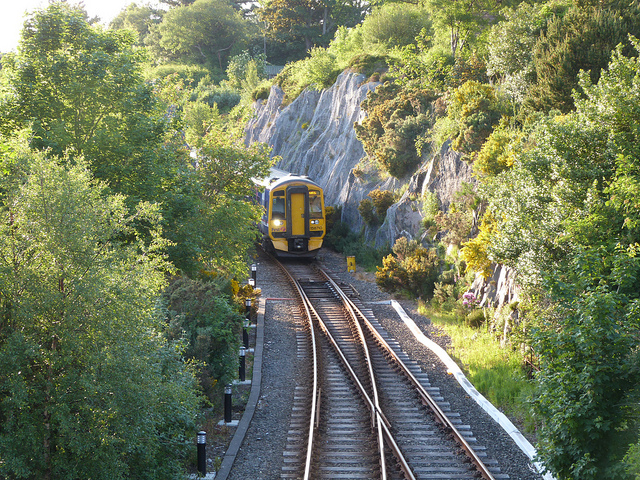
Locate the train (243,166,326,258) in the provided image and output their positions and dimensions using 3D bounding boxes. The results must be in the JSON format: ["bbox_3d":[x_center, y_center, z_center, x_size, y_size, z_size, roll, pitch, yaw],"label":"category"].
[{"bbox_3d":[-1.450,-1.237,39.360,2.405,4.132,3.668,-3,-5,-17],"label":"train"}]
